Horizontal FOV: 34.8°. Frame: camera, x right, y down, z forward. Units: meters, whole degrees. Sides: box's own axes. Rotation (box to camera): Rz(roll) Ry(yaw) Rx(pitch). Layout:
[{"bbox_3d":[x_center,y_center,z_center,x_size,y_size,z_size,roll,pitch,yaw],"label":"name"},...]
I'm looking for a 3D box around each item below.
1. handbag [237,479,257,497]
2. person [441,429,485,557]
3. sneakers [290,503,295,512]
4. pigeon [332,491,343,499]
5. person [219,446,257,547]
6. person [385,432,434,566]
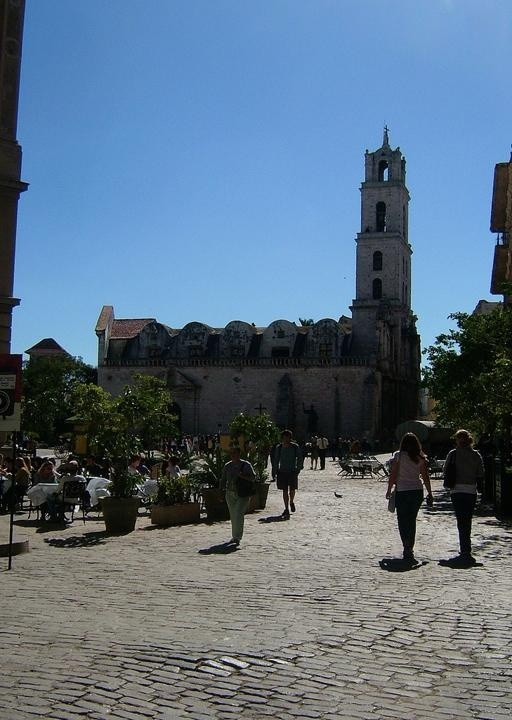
[{"bbox_3d":[-0.121,1.800,11.546,0.317,0.276,0.141,5,-8,-40],"label":"handbag"},{"bbox_3d":[2.580,1.630,10.174,0.474,1.547,1.835,-2,-6,15],"label":"person"},{"bbox_3d":[0.720,2.869,15.911,0.091,0.188,0.182,-4,11,-2],"label":"sneakers"},{"bbox_3d":[2.055,3.330,20.193,0.305,0.215,0.146,6,-12,-40],"label":"pigeon"},{"bbox_3d":[-0.253,1.887,11.561,0.452,1.316,0.749,0,-6,-3],"label":"person"},{"bbox_3d":[1.790,1.604,9.706,0.447,1.490,0.814,-2,-6,17],"label":"person"}]
